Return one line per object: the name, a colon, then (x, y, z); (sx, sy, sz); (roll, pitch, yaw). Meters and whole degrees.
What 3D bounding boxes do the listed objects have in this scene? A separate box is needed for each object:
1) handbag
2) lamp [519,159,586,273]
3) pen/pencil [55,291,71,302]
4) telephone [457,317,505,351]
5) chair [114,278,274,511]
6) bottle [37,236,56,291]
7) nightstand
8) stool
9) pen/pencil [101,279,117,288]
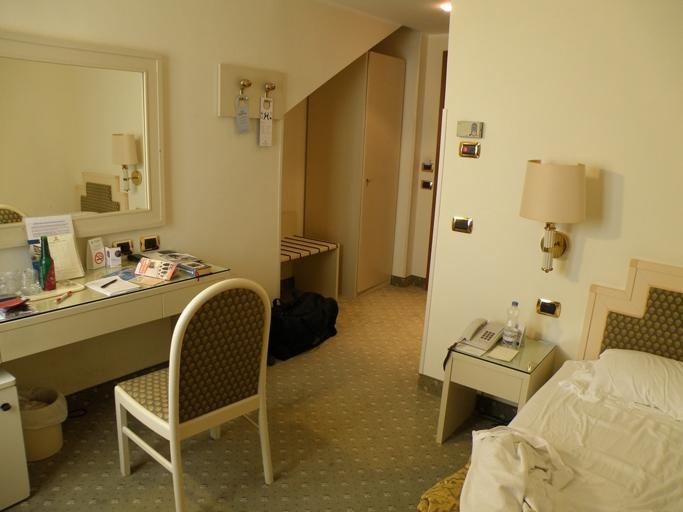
handbag: (-0.326, 0.548, 4.009); (0.366, 0.199, 0.513); (8, 18, 32)
lamp: (1.175, -0.191, 2.804); (0.326, 0.643, 0.306); (9, 16, 27)
pen/pencil: (-1.476, 0.221, 2.671); (0.021, 0.023, 0.082); (5, 12, 9)
telephone: (0.851, 0.452, 3.003); (0.284, 0.082, 0.220); (-24, 23, -37)
chair: (-0.738, 0.739, 2.550); (0.688, 1.375, 0.688); (23, 25, 37)
bottle: (-1.626, 0.033, 2.770); (0.082, 0.280, 0.187); (-7, 17, -30)
nightstand: (0.882, 0.744, 2.792); (0.406, 0.620, 0.405); (14, 26, 35)
stool: (-0.354, 0.124, 5.132); (0.529, 0.708, 0.716); (3, -2, -15)
pen/pencil: (-1.317, 0.160, 2.852); (0.018, 0.011, 0.078); (-12, 10, 24)
